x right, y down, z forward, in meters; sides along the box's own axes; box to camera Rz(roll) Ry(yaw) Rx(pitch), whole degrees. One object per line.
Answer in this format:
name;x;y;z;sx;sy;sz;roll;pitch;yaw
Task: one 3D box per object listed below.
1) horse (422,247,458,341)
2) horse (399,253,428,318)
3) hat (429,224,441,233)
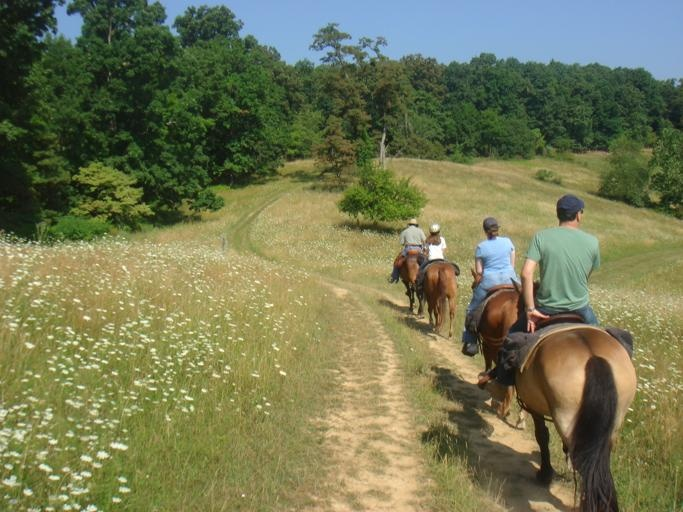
horse;3.567;1.540;21.657;1.172;2.599;1.776;1;10;2
horse;3.117;0.604;25.725;0.875;3.143;3.884;-4;11;9
hat;3.460;-1.011;22.199;0.250;0.363;0.352;-1;4;4
